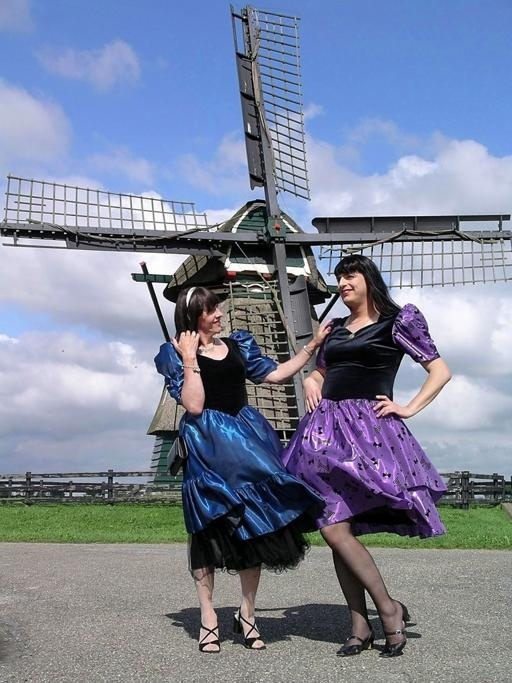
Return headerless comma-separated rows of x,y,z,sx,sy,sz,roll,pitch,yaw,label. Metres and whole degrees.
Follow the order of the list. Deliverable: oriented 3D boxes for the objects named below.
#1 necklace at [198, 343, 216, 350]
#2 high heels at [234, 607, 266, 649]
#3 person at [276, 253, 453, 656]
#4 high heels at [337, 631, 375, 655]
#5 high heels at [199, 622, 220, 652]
-0.247,0.031,3.138,0.051,0.036,0.008,-4,-49,-18,necklace
-0.028,1.291,2.790,0.083,0.089,0.233,4,-11,-23,high heels
0.479,0.440,2.834,0.664,1.229,0.572,-3,-4,-38,person
0.429,1.264,2.611,0.063,0.065,0.176,-39,-36,27,high heels
-0.201,1.291,2.686,0.093,0.109,0.121,-4,-3,-4,high heels
